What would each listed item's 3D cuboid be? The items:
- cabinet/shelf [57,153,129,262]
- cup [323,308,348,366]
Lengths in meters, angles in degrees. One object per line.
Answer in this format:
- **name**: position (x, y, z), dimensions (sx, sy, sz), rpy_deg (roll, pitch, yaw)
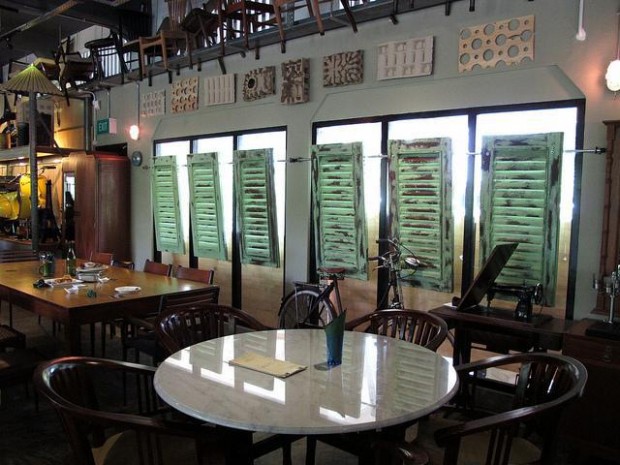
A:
- **cabinet/shelf**: position (-3.287, -0.392, 7.604), dimensions (0.919, 1.677, 0.519), rpy_deg (0, 6, 13)
- **cup**: position (0.137, 0.563, 2.695), dimensions (0.105, 0.305, 0.196), rpy_deg (-1, 6, 2)
